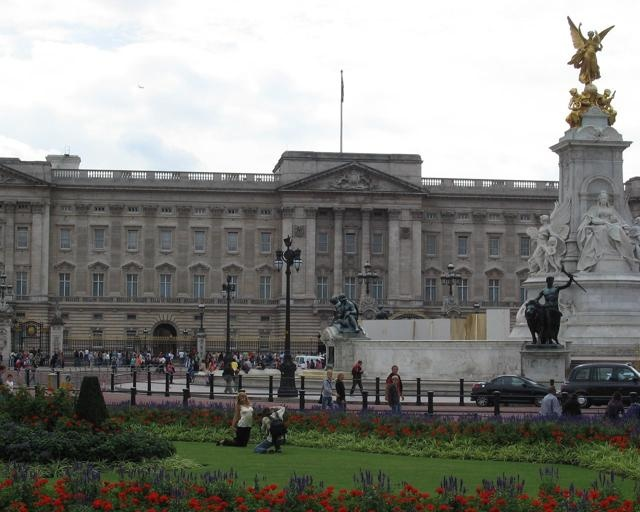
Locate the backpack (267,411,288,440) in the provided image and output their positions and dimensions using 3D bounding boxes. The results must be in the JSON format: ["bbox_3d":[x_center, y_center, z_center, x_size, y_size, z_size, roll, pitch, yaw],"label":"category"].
[{"bbox_3d":[-1.245,5.117,54.542,0.491,0.890,0.571,1,-6,0],"label":"backpack"}]

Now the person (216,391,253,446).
[{"bbox_3d":[-2.382,4.968,55.276,0.631,1.651,0.851,5,-7,-34],"label":"person"}]

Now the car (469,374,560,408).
[{"bbox_3d":[6.831,4.929,66.196,2.455,0.840,1.191,-2,-1,4],"label":"car"}]

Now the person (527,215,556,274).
[{"bbox_3d":[9.129,-0.412,75.308,0.640,2.392,1.135,10,-10,-43],"label":"person"}]
